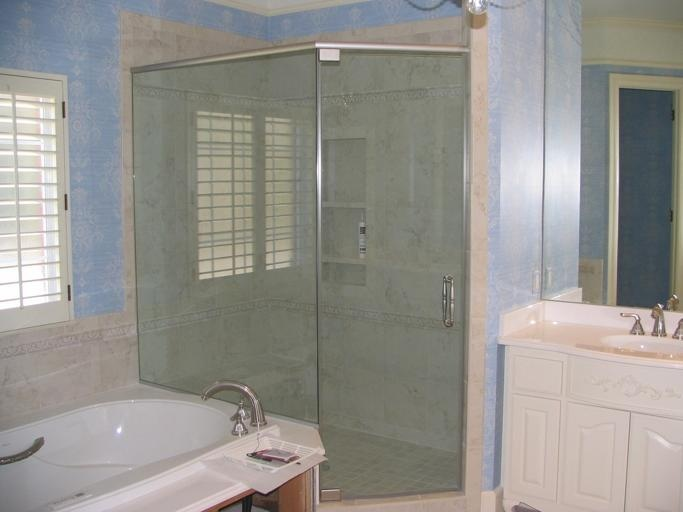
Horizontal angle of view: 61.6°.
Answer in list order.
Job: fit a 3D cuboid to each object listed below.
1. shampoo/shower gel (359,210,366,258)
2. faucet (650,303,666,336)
[{"bbox_3d":[0.113,-0.110,3.019,0.046,0.236,0.017,-2,7,-2],"label":"shampoo/shower gel"},{"bbox_3d":[1.797,0.362,3.230,0.080,0.158,0.147,2,8,29],"label":"faucet"}]
